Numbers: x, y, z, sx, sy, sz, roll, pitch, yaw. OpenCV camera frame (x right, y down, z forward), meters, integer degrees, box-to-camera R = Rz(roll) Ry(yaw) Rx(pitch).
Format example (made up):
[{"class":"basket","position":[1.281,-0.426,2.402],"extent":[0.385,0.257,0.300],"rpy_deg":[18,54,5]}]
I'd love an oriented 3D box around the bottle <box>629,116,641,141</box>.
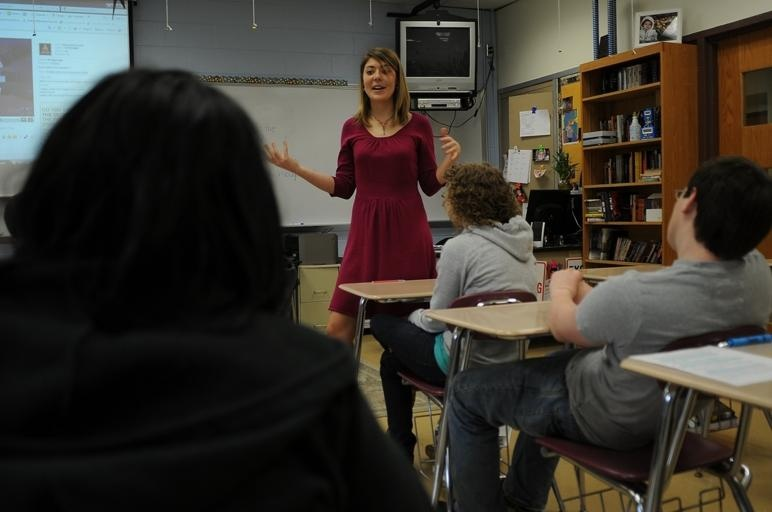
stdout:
[{"class":"bottle","position":[2.169,-1.097,4.777],"extent":[0.097,0.230,0.092],"rpy_deg":[3,1,0]}]

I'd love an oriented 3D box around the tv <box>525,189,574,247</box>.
[{"class":"tv","position":[1.475,-0.336,5.027],"extent":[0.470,0.478,0.209],"rpy_deg":[-3,-1,-27]}]

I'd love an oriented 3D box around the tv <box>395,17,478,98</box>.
[{"class":"tv","position":[0.522,-2.046,5.868],"extent":[0.837,0.790,0.503],"rpy_deg":[-2,6,-5]}]

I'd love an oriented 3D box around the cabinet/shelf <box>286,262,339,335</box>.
[{"class":"cabinet/shelf","position":[-0.663,0.311,5.494],"extent":[0.510,0.837,0.571],"rpy_deg":[3,34,-1]}]

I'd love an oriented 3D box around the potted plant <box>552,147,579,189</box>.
[{"class":"potted plant","position":[1.808,-0.833,5.532],"extent":[0.259,0.374,0.250],"rpy_deg":[0,14,25]}]

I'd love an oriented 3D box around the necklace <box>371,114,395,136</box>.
[{"class":"necklace","position":[-0.008,-0.599,2.569],"extent":[0.099,0.101,0.025],"rpy_deg":[6,-4,6]}]

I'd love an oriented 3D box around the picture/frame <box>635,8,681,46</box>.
[{"class":"picture/frame","position":[2.302,-1.886,4.622],"extent":[0.387,0.337,0.040],"rpy_deg":[-1,-8,35]}]
